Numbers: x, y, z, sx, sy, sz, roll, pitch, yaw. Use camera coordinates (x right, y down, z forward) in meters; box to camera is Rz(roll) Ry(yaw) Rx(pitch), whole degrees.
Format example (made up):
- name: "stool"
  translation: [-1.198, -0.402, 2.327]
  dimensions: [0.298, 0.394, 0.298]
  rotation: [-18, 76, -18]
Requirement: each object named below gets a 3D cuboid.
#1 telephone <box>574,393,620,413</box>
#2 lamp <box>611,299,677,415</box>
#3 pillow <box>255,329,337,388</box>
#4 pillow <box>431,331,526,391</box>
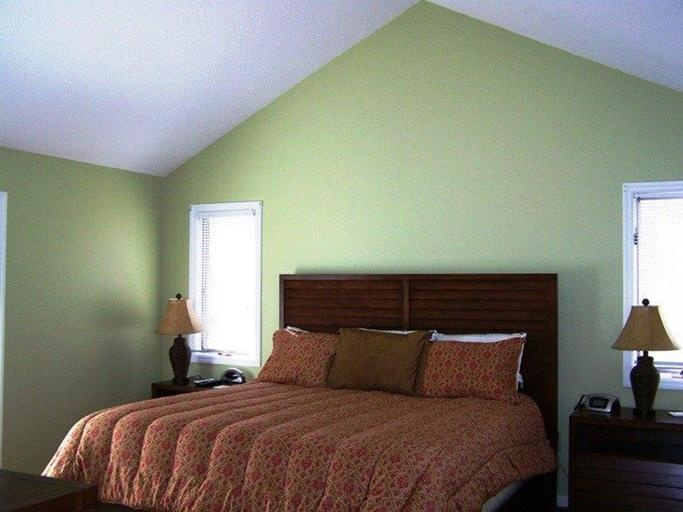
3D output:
- name: "telephone"
  translation: [1.912, 1.055, 3.882]
  dimensions: [0.222, 0.098, 0.162]
  rotation: [-5, -9, 32]
- name: "lamp"
  translation: [2.203, 0.715, 3.794]
  dimensions: [0.357, 0.818, 0.340]
  rotation: [0, 2, -35]
- name: "pillow"
  translation: [-0.356, 0.864, 4.406]
  dimensions: [0.485, 0.464, 0.147]
  rotation: [6, -23, 34]
- name: "pillow"
  translation: [1.053, 0.808, 3.970]
  dimensions: [0.498, 0.334, 0.067]
  rotation: [0, -39, 30]
